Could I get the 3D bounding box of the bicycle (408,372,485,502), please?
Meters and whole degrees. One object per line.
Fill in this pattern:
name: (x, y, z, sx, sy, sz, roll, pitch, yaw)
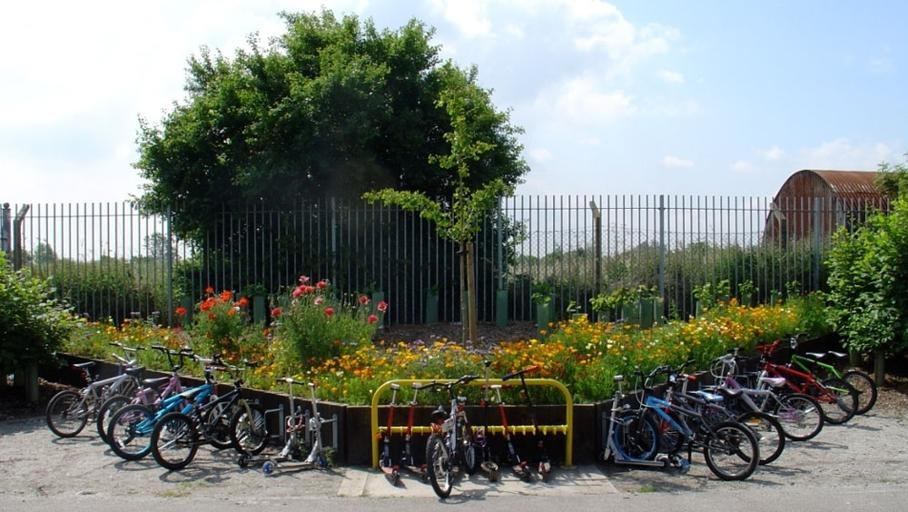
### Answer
bicycle: (-0.085, 3.371, 16.376, 1.170, 2.232, 0.803, 6, -9, -41)
